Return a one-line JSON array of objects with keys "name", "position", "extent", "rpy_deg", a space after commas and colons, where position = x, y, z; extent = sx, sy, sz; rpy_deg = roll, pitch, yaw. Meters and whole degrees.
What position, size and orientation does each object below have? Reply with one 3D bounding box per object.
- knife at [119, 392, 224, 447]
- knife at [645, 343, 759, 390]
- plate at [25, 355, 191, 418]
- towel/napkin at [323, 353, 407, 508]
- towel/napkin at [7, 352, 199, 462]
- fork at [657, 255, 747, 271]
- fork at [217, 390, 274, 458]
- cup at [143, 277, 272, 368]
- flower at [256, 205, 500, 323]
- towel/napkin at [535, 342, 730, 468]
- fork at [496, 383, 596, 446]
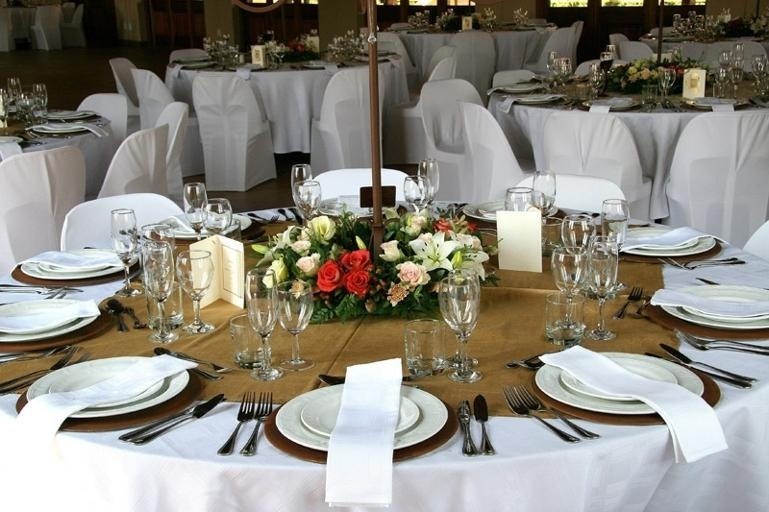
[{"name": "knife", "position": [-0.476, 0.377, 1.356], "extent": [0.068, 0.044, 0.274], "rpy_deg": [15, 24, 35]}, {"name": "knife", "position": [0.810, 0.281, 1.509], "extent": [0.075, 0.024, 0.277], "rpy_deg": [-19, 22, -35]}, {"name": "plate", "position": [-0.657, 0.319, 1.434], "extent": [0.183, 0.030, 0.205], "rpy_deg": [16, 22, 32]}, {"name": "towel/napkin", "position": [-0.040, 0.400, 1.305], "extent": [0.145, 0.199, 0.359], "rpy_deg": [-1, 14, 5]}, {"name": "towel/napkin", "position": [-0.680, 0.332, 1.391], "extent": [0.182, 0.100, 0.336], "rpy_deg": [12, 25, 44]}, {"name": "fork", "position": [1.155, 0.027, 2.102], "extent": [0.182, 0.037, 0.028], "rpy_deg": [-3, 39, 0]}, {"name": "fork", "position": [-0.307, 0.382, 1.335], "extent": [0.041, 0.023, 0.159], "rpy_deg": [1, 34, 6]}, {"name": "cup", "position": [-0.445, 0.175, 1.540], "extent": [0.254, 0.197, 0.171], "rpy_deg": [-8, 20, -20]}, {"name": "flower", "position": [-0.052, 0.024, 1.799], "extent": [0.430, 0.228, 0.460], "rpy_deg": [2, 8, 27]}, {"name": "towel/napkin", "position": [0.572, 0.309, 1.400], "extent": [0.194, 0.160, 0.422], "rpy_deg": [-17, 21, -34]}, {"name": "fork", "position": [0.358, 0.331, 1.326], "extent": [0.067, 0.037, 0.237], "rpy_deg": [-10, 31, -28]}]
